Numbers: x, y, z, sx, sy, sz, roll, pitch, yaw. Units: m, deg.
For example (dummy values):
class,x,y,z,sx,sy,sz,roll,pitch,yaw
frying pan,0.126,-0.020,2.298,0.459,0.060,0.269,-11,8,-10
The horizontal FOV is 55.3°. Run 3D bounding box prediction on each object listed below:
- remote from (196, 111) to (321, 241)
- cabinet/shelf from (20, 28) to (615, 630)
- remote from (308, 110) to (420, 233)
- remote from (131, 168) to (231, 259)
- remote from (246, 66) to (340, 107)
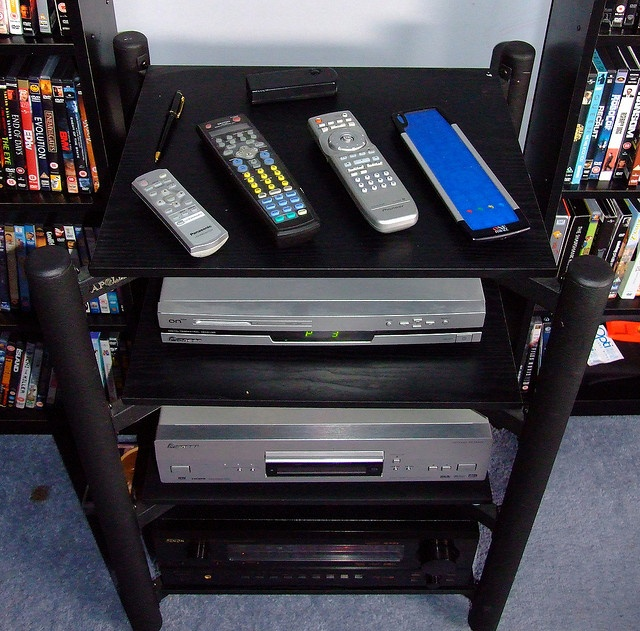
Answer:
class,x,y,z,sx,sy,sz,roll,pitch,yaw
remote,-0.071,-0.152,0.721,0.077,0.057,0.228,-25,59,-21
cabinet/shelf,-0.049,0.093,0.884,0.659,0.876,0.523,-5,32,-8
remote,0.040,-0.161,0.724,0.073,0.039,0.193,-17,56,-19
remote,-0.154,-0.107,0.671,0.057,0.036,0.150,-35,62,-24
remote,-0.036,-0.304,0.826,0.126,0.028,0.048,-6,51,-5
